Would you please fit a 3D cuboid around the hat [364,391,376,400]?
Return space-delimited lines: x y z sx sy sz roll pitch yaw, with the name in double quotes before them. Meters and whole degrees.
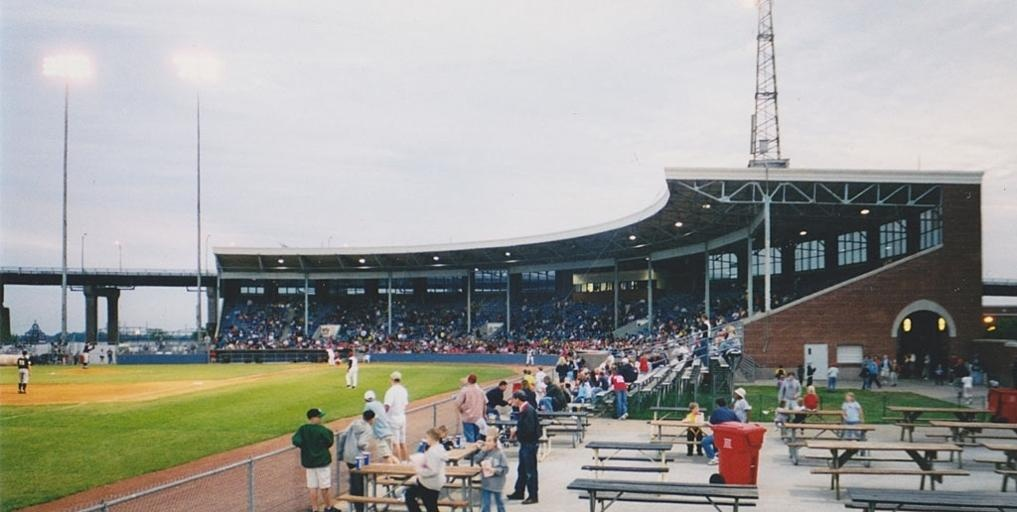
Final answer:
"hat" -10.263 10.376 88.336 0.977 0.626 1.347 2 -7 -20

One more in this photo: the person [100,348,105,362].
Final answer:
"person" -42.989 10.673 126.540 0.465 1.385 0.553 -8 -10 40
